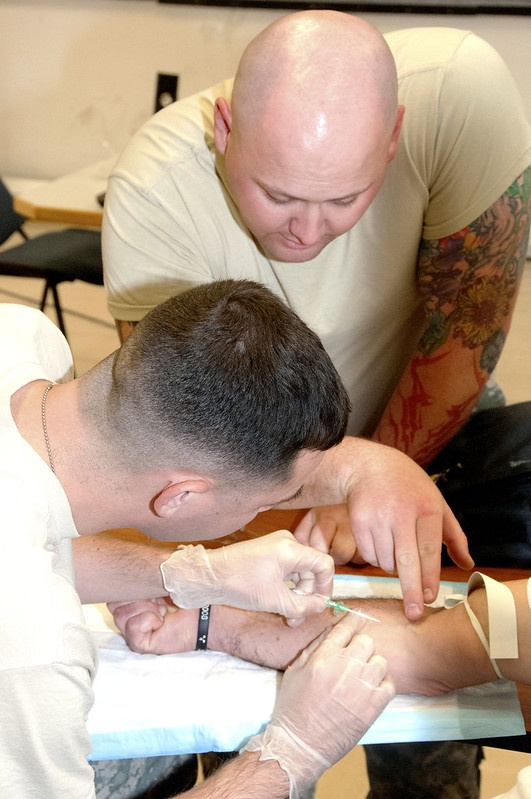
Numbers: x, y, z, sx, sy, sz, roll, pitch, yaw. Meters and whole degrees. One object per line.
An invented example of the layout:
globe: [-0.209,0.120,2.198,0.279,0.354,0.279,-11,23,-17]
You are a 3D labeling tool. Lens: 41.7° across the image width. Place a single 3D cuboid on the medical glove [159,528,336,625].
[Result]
medical glove: [-0.022,0.317,1.339,0.382,0.203,0.222,-1,93,14]
